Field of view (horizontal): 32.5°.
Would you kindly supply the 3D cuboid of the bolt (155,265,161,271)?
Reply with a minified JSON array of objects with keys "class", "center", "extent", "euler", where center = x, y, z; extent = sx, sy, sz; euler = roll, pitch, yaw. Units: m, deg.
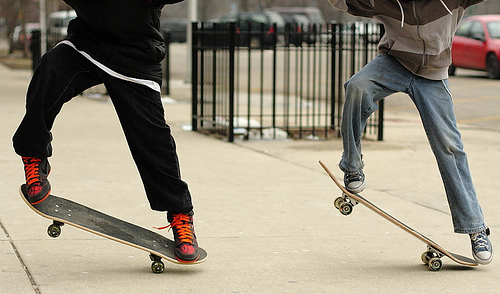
[{"class":"bolt","center":[-0.997,1.316,9.289],"extent":[0.053,0.062,0.004],"euler":[-2,8,-1]}]

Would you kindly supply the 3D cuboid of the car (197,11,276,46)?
[{"class":"car","center":[-0.268,-2.059,14.830],"extent":[1.600,0.588,0.927],"euler":[2,9,-1]}]

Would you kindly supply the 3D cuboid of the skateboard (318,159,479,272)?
[{"class":"skateboard","center":[1.771,0.868,10.246],"extent":[1.658,0.287,0.352],"euler":[36,-1,-2]}]

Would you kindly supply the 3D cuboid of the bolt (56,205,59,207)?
[{"class":"bolt","center":[-2.090,0.641,9.284],"extent":[0.033,0.016,0.023],"euler":[-6,9,-25]}]

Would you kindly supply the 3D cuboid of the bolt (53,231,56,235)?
[{"class":"bolt","center":[-2.117,0.928,9.261],"extent":[0.028,0.035,0.012],"euler":[-4,8,-11]}]

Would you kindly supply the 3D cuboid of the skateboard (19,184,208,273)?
[{"class":"skateboard","center":[-1.554,0.965,9.680],"extent":[1.479,0.231,0.388],"euler":[24,16,-3]}]
